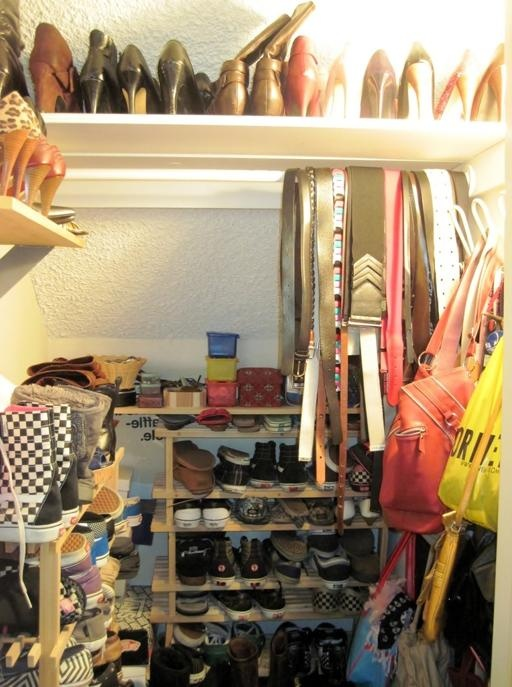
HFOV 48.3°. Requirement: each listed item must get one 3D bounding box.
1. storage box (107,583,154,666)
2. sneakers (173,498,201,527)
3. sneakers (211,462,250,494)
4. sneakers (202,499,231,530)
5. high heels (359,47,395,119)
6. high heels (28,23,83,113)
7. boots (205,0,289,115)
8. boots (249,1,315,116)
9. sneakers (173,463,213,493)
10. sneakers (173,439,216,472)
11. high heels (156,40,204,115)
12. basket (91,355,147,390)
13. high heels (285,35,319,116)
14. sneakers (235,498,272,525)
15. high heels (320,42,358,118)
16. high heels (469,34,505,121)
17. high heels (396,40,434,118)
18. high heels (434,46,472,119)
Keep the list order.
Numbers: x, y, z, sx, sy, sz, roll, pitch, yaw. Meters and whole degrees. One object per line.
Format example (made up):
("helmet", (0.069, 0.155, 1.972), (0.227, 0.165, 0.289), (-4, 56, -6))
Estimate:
("storage box", (-0.478, 1.088, 2.244), (0.183, 0.097, 0.459), (2, 32, -8))
("sneakers", (-0.256, 0.627, 2.151), (0.065, 0.054, 0.137), (2, 9, -2))
("sneakers", (-0.089, 0.505, 2.205), (0.135, 0.098, 0.169), (-1, 1, -5))
("sneakers", (-0.151, 0.653, 2.192), (0.111, 0.092, 0.131), (-1, 1, -4))
("high heels", (0.366, -0.758, 1.696), (0.109, 0.164, 0.156), (-1, 1, 11))
("high heels", (-0.562, -0.763, 1.591), (0.093, 0.313, 0.121), (-4, 4, -8))
("boots", (-0.028, -0.786, 1.640), (0.120, 0.165, 0.392), (4, 38, 5))
("boots", (0.054, -0.772, 1.619), (0.115, 0.373, 0.155), (8, 1, -10))
("sneakers", (-0.246, 0.512, 2.161), (0.173, 0.102, 0.138), (-1, 1, 10))
("sneakers", (-0.250, 0.437, 2.230), (0.097, 0.052, 0.141), (7, 10, -26))
("high heels", (-0.222, -0.761, 1.662), (0.132, 0.199, 0.167), (-1, 1, -1))
("basket", (-0.537, 0.082, 2.195), (0.142, 0.092, 0.164), (-1, 3, -26))
("high heels", (0.133, -0.764, 1.630), (0.085, 0.250, 0.100), (0, -3, 2))
("sneakers", (-0.010, 0.636, 2.257), (0.143, 0.092, 0.220), (-1, 1, -2))
("high heels", (0.246, -0.759, 1.682), (0.074, 0.225, 0.064), (4, 14, 6))
("high heels", (0.675, -0.756, 1.667), (0.076, 0.246, 0.094), (2, 0, 24))
("high heels", (0.461, -0.749, 1.671), (0.074, 0.249, 0.095), (0, 2, -10))
("high heels", (0.586, -0.762, 1.694), (0.054, 0.227, 0.077), (8, 3, -1))
